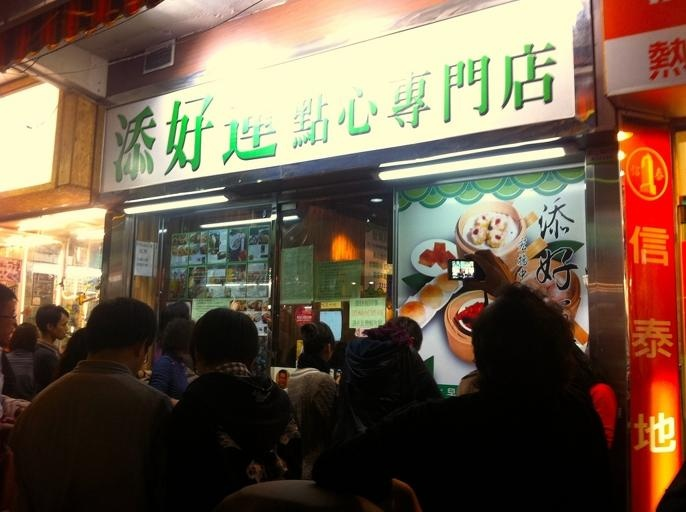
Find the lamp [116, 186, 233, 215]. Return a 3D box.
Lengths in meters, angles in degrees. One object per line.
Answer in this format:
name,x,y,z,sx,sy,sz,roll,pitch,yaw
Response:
lamp,-1.763,-0.577,6.144,1.471,0.113,0.378,-5,-8,30

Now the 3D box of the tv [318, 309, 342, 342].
tv,-0.107,0.641,5.214,0.263,0.310,0.040,-7,-14,31

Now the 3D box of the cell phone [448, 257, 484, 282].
cell phone,0.970,0.110,4.468,0.207,0.118,0.022,-2,-5,-1

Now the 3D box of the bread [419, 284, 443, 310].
bread,0.769,0.355,4.975,0.170,0.175,0.094,-29,-26,23

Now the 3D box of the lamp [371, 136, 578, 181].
lamp,1.016,-0.774,4.645,1.497,0.112,0.215,-4,-8,27
